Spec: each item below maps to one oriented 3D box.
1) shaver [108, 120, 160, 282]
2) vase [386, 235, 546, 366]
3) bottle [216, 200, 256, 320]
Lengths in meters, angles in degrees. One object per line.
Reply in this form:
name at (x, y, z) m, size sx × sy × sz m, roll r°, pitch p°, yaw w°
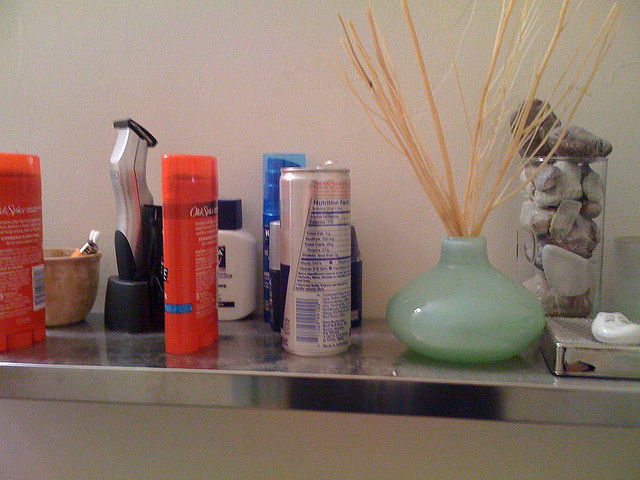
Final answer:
shaver at (-0.301, -0.068, 0.905) m, size 0.087 × 0.247 × 0.096 m, roll -12°, pitch 15°, yaw -30°
vase at (0.222, 0.086, 0.869) m, size 0.234 × 0.187 × 0.264 m, roll -4°, pitch 6°, yaw -26°
bottle at (-0.141, 0.034, 0.935) m, size 0.077 × 0.200 × 0.044 m, roll -10°, pitch 15°, yaw -26°
